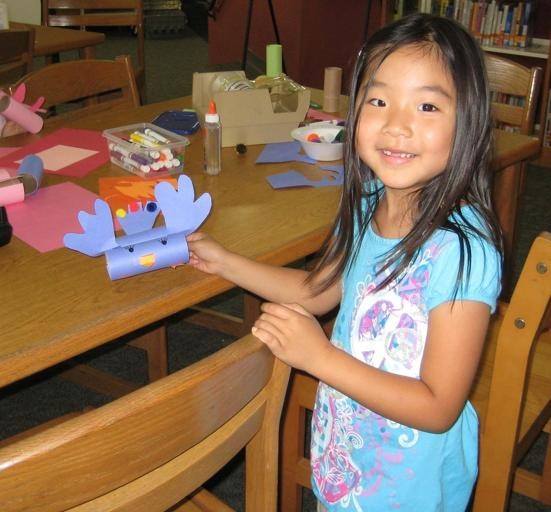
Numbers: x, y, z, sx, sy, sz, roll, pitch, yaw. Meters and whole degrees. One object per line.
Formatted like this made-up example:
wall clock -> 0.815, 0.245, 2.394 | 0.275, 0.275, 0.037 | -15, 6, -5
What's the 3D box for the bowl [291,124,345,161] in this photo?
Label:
bowl -> 0.135, -0.314, 1.308 | 0.171, 0.055, 0.158 | 0, 31, 0
